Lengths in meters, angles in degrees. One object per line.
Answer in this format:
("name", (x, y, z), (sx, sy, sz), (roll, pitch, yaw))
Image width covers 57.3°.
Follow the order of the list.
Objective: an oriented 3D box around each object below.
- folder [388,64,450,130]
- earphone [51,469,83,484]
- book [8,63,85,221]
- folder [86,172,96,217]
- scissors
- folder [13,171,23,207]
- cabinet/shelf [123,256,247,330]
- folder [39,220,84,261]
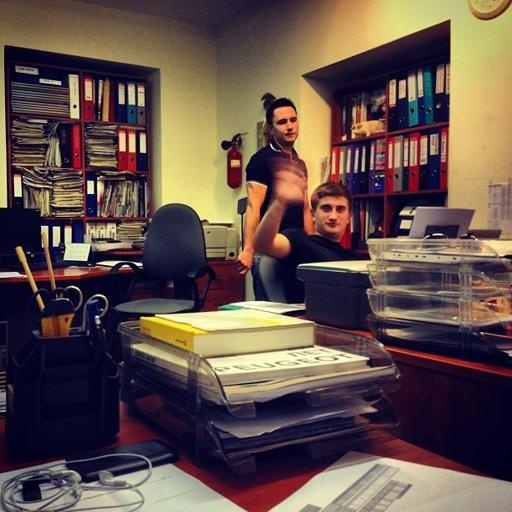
("folder", (1.050, -1.029, 3.066), (0.067, 0.377, 0.472), (-5, 9, -32))
("earphone", (-0.218, 0.254, 0.542), (0.023, 0.006, 0.017), (13, -6, 8))
("book", (-1.817, -0.942, 3.980), (0.318, 1.136, 0.853), (6, 7, 41))
("folder", (-1.468, -0.548, 4.241), (0.096, 0.405, 0.043), (10, 23, 9))
("scissors", (-0.286, 0.096, 0.754), (0.086, 0.057, 0.115), (19, 22, 31))
("folder", (-1.983, -0.550, 3.918), (0.078, 0.278, 0.057), (-4, 9, -28))
("cabinet/shelf", (-0.444, 0.223, 3.914), (0.782, 0.673, 0.415), (-2, 1, -31))
("folder", (-1.464, -0.123, 3.525), (0.189, 0.330, 0.357), (1, 3, 39))
